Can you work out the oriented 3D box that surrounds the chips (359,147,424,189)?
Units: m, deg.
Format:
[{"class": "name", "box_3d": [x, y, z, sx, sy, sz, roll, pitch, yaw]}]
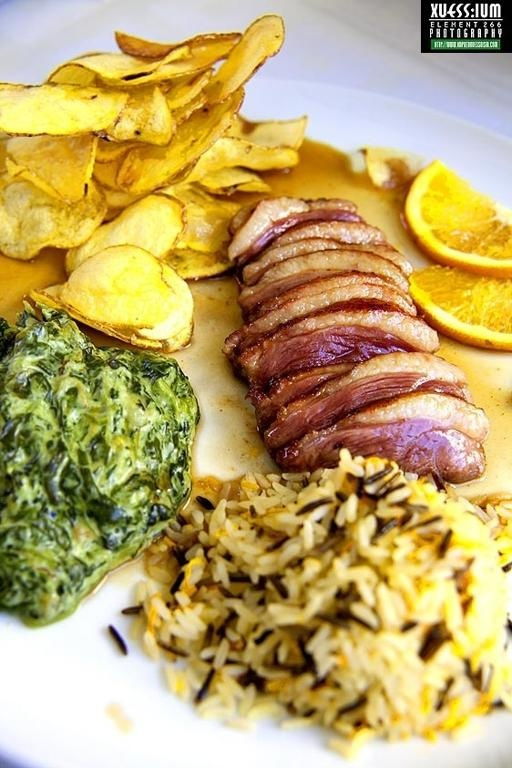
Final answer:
[{"class": "chips", "box_3d": [0.641, -1.020, 3.479, 0.252, 0.075, 0.228, -25, 74, -19]}]
